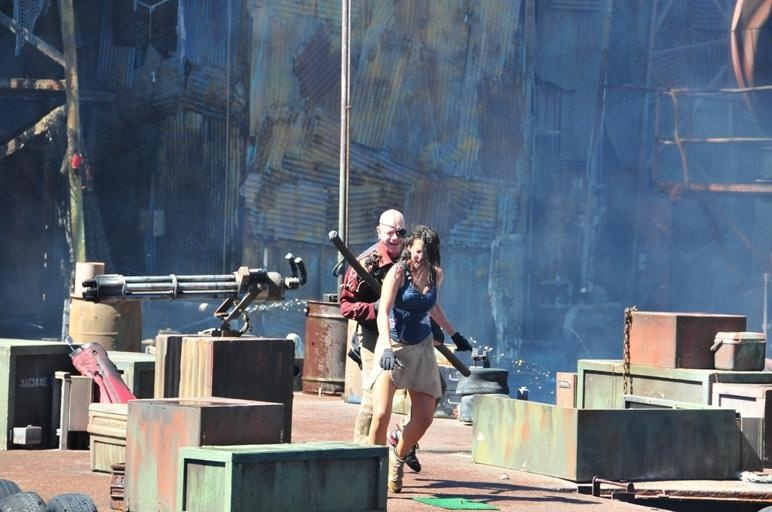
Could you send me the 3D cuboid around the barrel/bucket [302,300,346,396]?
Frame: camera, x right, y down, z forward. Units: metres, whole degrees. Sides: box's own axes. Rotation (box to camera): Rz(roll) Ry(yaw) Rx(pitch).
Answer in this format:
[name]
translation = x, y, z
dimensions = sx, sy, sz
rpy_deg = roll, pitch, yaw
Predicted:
[barrel/bucket]
translation = -1.458, 2.135, 43.094
dimensions = 0.853, 2.247, 0.884
rpy_deg = 1, 7, 0
